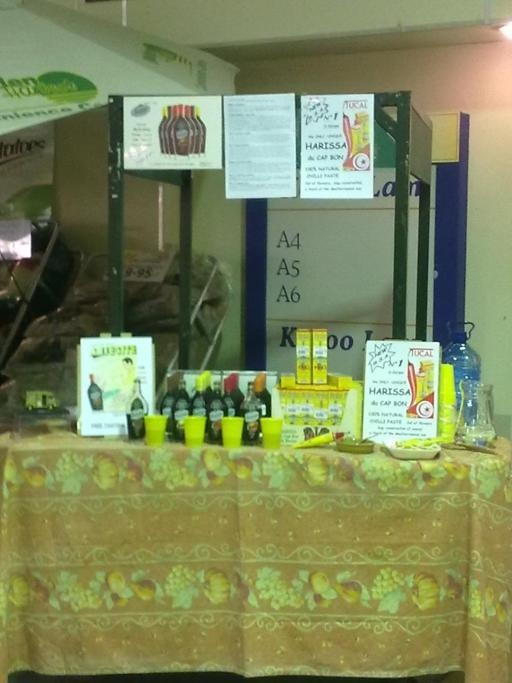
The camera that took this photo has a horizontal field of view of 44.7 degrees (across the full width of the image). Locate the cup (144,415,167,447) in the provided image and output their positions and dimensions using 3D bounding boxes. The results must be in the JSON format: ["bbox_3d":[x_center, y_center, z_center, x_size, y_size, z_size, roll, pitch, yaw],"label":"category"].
[{"bbox_3d":[-0.307,0.276,1.910,0.082,0.089,0.083,0,-4,0],"label":"cup"}]

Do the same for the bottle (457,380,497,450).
[{"bbox_3d":[0.685,0.228,1.941,0.190,0.218,0.139,5,-7,-42],"label":"bottle"}]

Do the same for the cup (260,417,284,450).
[{"bbox_3d":[0.045,0.271,1.861,0.074,0.083,0.083,0,-6,0],"label":"cup"}]

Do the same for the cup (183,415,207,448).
[{"bbox_3d":[-0.179,0.276,1.882,0.081,0.089,0.081,0,-6,0],"label":"cup"}]

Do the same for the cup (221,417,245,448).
[{"bbox_3d":[-0.072,0.273,1.924,0.080,0.088,0.082,1,4,0],"label":"cup"}]
